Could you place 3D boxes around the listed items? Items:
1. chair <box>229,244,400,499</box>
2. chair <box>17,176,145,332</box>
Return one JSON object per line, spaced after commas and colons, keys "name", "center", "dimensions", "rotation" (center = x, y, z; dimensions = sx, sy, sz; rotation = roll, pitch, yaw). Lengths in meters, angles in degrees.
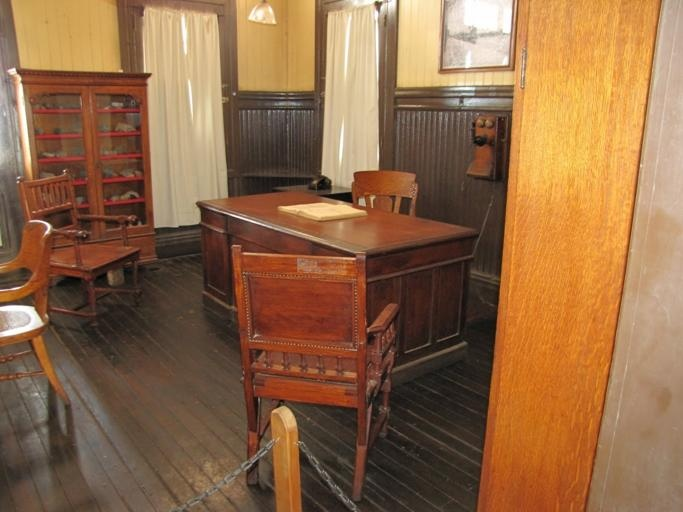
{"name": "chair", "center": [-0.113, 0.490, 2.389], "dimensions": [0.724, 0.945, 0.595], "rotation": [1, -1, 13]}
{"name": "chair", "center": [-2.208, -0.180, 4.689], "dimensions": [0.817, 0.979, 0.733], "rotation": [1, 24, -12]}
